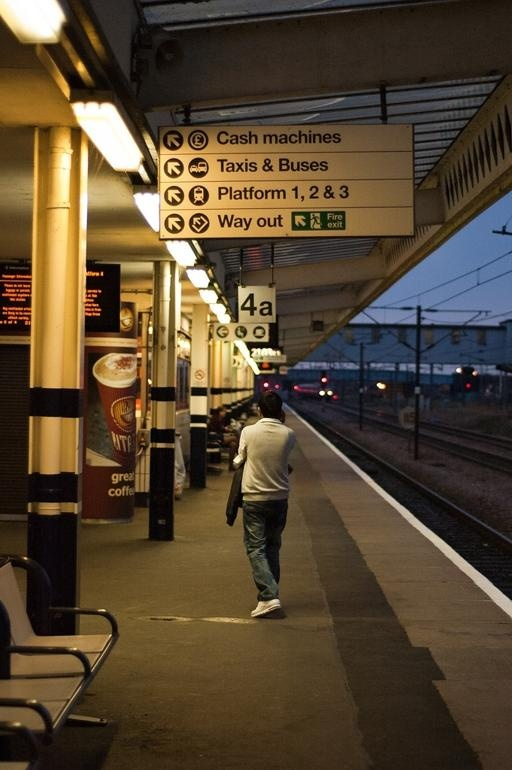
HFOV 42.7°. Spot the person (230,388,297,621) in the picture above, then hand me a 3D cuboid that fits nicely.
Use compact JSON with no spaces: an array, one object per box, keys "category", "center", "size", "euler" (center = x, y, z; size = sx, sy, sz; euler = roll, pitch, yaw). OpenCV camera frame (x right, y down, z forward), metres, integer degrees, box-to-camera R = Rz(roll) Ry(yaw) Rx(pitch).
[{"category":"person","center":[0.075,1.122,5.684],"size":[0.486,1.649,0.453],"euler":[-1,-3,14]}]

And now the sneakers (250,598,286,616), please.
[{"category":"sneakers","center":[0.100,1.852,5.501],"size":[0.295,0.135,0.111],"euler":[-10,0,2]}]
